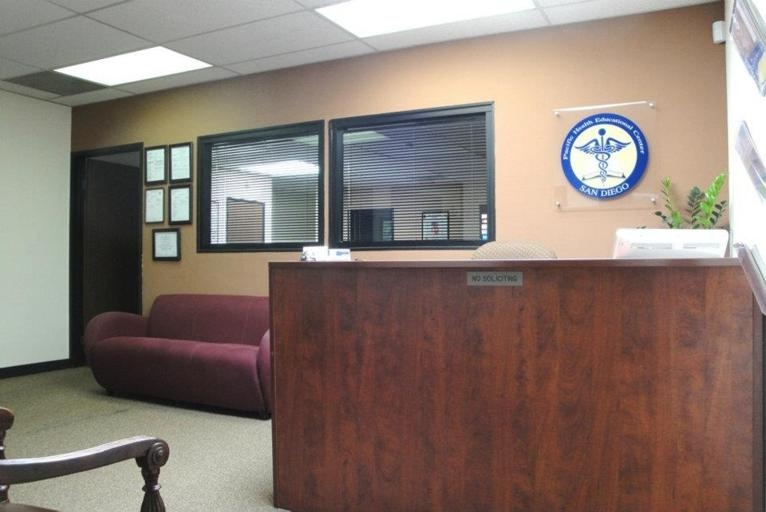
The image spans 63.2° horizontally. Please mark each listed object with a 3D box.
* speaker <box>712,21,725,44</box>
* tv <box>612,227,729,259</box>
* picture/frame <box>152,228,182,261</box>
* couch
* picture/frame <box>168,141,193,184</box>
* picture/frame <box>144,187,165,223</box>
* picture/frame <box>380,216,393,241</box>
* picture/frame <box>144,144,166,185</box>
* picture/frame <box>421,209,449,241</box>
[{"bbox_3d":[2.820,-1.862,5.212,0.090,0.161,0.115,0,3,29],"label":"speaker"},{"bbox_3d":[1.706,-0.073,3.708,0.606,0.161,0.206,-1,3,24],"label":"tv"},{"bbox_3d":[-2.536,-0.127,7.294,0.395,0.390,0.029,0,-1,22],"label":"picture/frame"},{"bbox_3d":[-1.913,0.974,6.346,2.283,1.022,0.977,-1,3,24],"label":"couch"},{"bbox_3d":[-2.340,-1.061,7.184,0.507,0.643,0.049,0,0,29],"label":"picture/frame"},{"bbox_3d":[-2.709,-0.592,7.356,0.427,0.479,0.043,-1,-4,28],"label":"picture/frame"},{"bbox_3d":[0.037,-0.270,6.345,0.131,0.236,0.053,-1,3,9],"label":"picture/frame"},{"bbox_3d":[-2.703,-1.051,7.353,0.023,0.421,0.369,11,14,20],"label":"picture/frame"},{"bbox_3d":[0.522,-0.291,6.163,0.311,0.324,0.023,-2,-6,18],"label":"picture/frame"}]
